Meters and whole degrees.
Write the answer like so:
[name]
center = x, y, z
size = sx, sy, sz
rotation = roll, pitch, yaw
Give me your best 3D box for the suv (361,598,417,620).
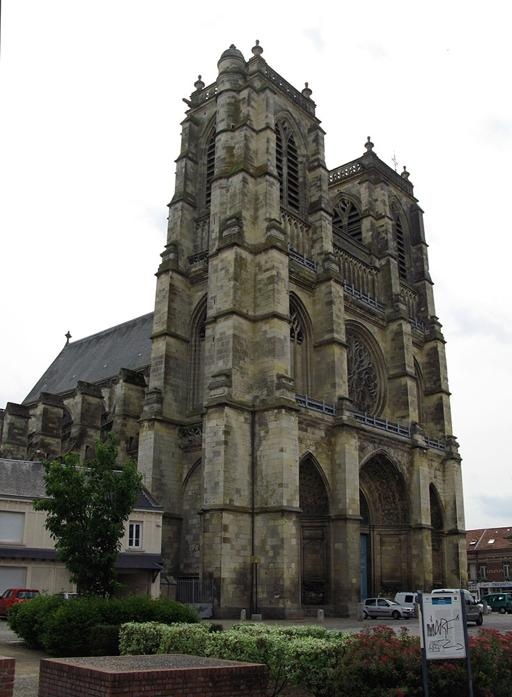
[suv]
center = 5.094, 10.336, 26.466
size = 1.874, 0.745, 1.007
rotation = -15, -24, 30
